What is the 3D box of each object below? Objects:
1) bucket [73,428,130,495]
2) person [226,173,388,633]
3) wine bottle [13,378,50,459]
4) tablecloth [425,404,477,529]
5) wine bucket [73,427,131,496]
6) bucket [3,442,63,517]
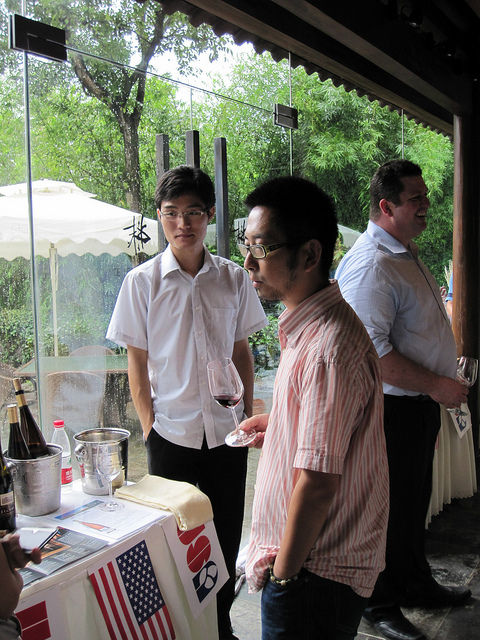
[{"bbox_3d":[-0.413,0.436,1.670,0.194,0.169,0.182,0,1,0],"label":"bucket"},{"bbox_3d":[0.131,0.176,1.123,0.324,0.716,0.315,-6,2,13],"label":"person"},{"bbox_3d":[-0.583,0.305,1.559,0.098,0.281,0.092,0,0,0],"label":"wine bottle"},{"bbox_3d":[1.352,0.877,3.457,0.207,0.489,0.772,-5,2,33],"label":"tablecloth"},{"bbox_3d":[-0.421,0.405,1.683,0.175,0.190,0.184,7,8,-1],"label":"wine bucket"},{"bbox_3d":[-0.571,0.426,1.547,0.190,0.162,0.167,0,10,-40],"label":"bucket"}]
